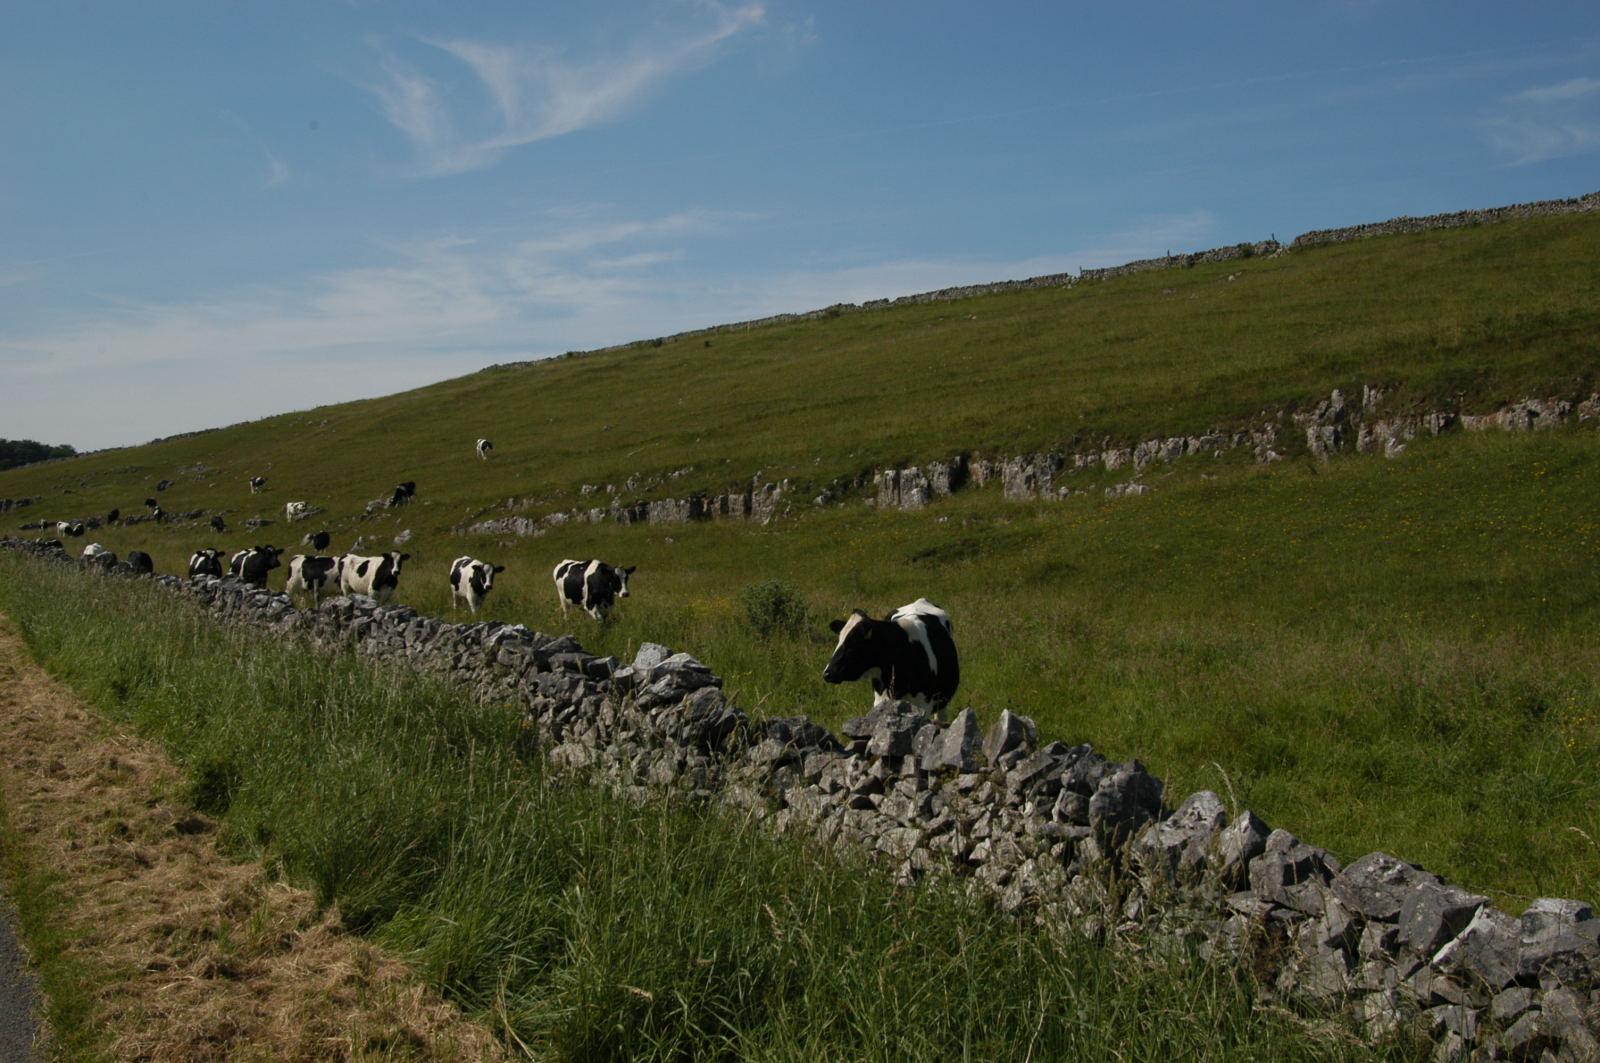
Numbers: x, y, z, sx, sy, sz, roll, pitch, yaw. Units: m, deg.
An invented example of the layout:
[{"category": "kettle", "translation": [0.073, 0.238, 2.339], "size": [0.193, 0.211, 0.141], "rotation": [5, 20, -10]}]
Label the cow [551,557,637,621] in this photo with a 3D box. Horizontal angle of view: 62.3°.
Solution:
[{"category": "cow", "translation": [-6.267, 1.744, 39.866], "size": [1.989, 1.646, 3.886], "rotation": [-3, 14, -11]}]

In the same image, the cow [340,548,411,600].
[{"category": "cow", "translation": [-14.515, 1.458, 44.942], "size": [1.708, 1.463, 3.159], "rotation": [-8, 16, -29]}]
